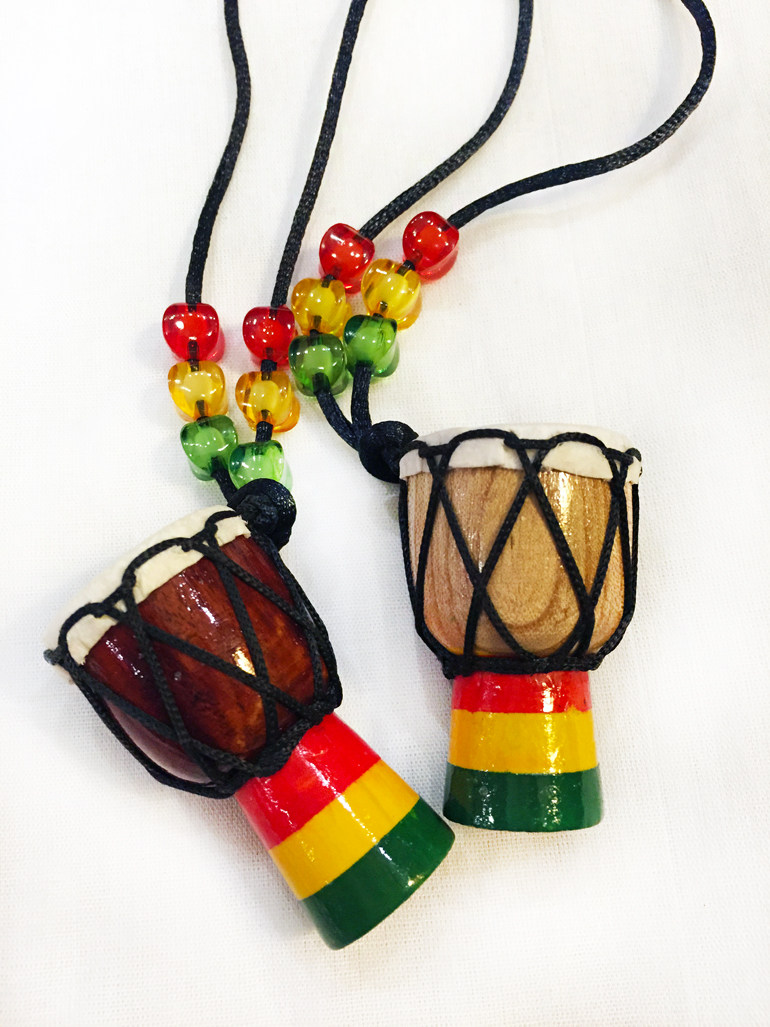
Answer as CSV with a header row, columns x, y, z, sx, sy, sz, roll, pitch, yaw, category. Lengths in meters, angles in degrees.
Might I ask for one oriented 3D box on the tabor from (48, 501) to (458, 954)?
x,y,z,sx,sy,sz,roll,pitch,yaw,category
-0.137,0.234,1.102,0.257,0.441,0.261,-29,29,-22,tabor
